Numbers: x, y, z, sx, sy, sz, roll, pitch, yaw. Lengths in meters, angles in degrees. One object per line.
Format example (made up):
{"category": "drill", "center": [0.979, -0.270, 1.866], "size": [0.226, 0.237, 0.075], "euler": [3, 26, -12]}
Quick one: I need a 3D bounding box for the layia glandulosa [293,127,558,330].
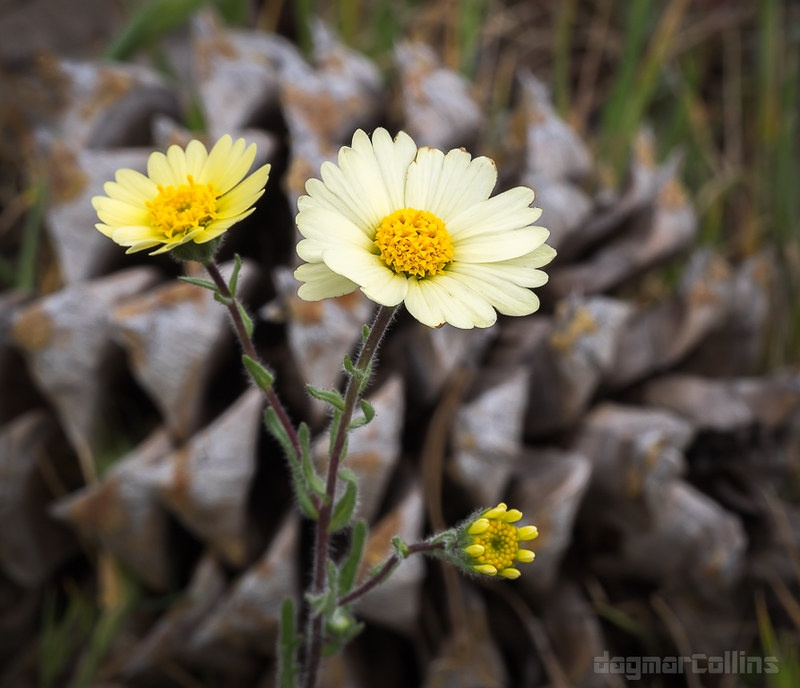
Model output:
{"category": "layia glandulosa", "center": [0.007, -0.142, 0.885], "size": [0.307, 0.127, 0.306], "euler": [15, -5, 3]}

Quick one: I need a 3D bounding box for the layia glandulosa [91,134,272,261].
{"category": "layia glandulosa", "center": [-0.241, -0.139, 0.873], "size": [0.194, 0.094, 0.217], "euler": [-13, -5, -12]}

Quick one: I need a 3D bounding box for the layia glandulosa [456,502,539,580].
{"category": "layia glandulosa", "center": [0.106, 0.181, 0.810], "size": [0.065, 0.083, 0.044], "euler": [-6, 8, -2]}
